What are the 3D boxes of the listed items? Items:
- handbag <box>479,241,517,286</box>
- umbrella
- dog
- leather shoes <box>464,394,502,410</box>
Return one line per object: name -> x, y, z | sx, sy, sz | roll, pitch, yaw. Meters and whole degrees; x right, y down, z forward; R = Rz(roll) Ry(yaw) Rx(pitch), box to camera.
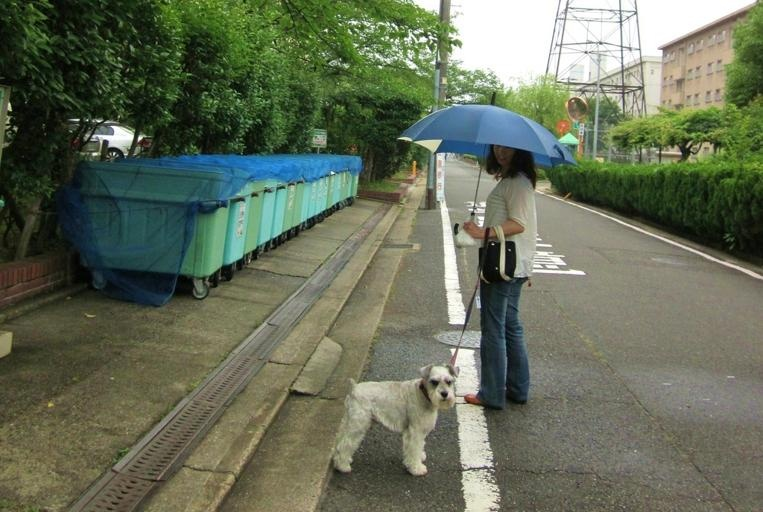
handbag -> 1.191, 0.068, 5.820 | 0.437, 0.607, 0.206 | -1, -3, 11
umbrella -> 1.054, -1.263, 6.193 | 1.180, 0.800, 1.563 | -12, 18, -40
dog -> 0.130, 1.455, 5.201 | 1.068, 0.946, 0.501 | 3, 3, 5
leather shoes -> 1.095, 1.560, 6.116 | 0.266, 0.112, 0.092 | 24, 17, 31
